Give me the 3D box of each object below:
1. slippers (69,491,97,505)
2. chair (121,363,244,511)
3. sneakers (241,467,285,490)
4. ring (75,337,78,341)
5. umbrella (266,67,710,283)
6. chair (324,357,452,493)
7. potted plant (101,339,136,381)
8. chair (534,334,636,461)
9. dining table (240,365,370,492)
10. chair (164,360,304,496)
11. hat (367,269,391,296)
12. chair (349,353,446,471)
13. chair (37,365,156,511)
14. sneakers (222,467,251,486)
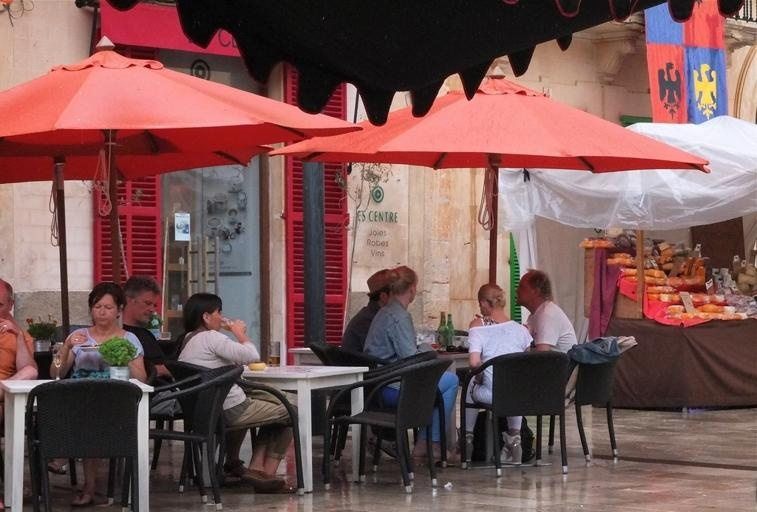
[{"bbox_3d":[-2.433,2.028,10.749,0.099,0.071,0.189,-7,-15,35],"label":"slippers"},{"bbox_3d":[-1.559,1.557,11.106,1.104,1.381,1.109,4,-6,-15],"label":"chair"},{"bbox_3d":[-0.990,1.939,11.091,0.382,0.158,0.151,14,31,6],"label":"sneakers"},{"bbox_3d":[-2.439,0.677,10.475,0.034,0.031,0.033,0,-7,0],"label":"ring"},{"bbox_3d":[1.171,-0.767,14.172,2.980,1.845,2.947,0,-3,2],"label":"umbrella"},{"bbox_3d":[0.041,1.469,11.491,1.146,1.358,1.106,-1,-5,30],"label":"chair"},{"bbox_3d":[-2.084,0.853,10.405,0.351,0.366,0.289,1,-8,-15],"label":"potted plant"},{"bbox_3d":[1.961,1.360,12.626,1.039,1.365,1.203,-1,-3,40],"label":"chair"},{"bbox_3d":[-0.578,1.489,11.199,0.762,1.111,1.009,-8,-9,32],"label":"dining table"},{"bbox_3d":[-1.239,1.478,11.323,1.189,1.477,1.111,1,2,38],"label":"chair"},{"bbox_3d":[0.037,0.256,12.298,0.199,0.096,0.249,-33,0,20],"label":"hat"},{"bbox_3d":[0.268,1.380,11.653,0.920,1.196,1.044,0,-1,30],"label":"chair"},{"bbox_3d":[-2.171,1.438,10.377,1.063,1.342,0.991,0,6,-12],"label":"chair"},{"bbox_3d":[-1.232,1.944,11.339,0.121,0.134,0.325,9,-15,-40],"label":"sneakers"}]
